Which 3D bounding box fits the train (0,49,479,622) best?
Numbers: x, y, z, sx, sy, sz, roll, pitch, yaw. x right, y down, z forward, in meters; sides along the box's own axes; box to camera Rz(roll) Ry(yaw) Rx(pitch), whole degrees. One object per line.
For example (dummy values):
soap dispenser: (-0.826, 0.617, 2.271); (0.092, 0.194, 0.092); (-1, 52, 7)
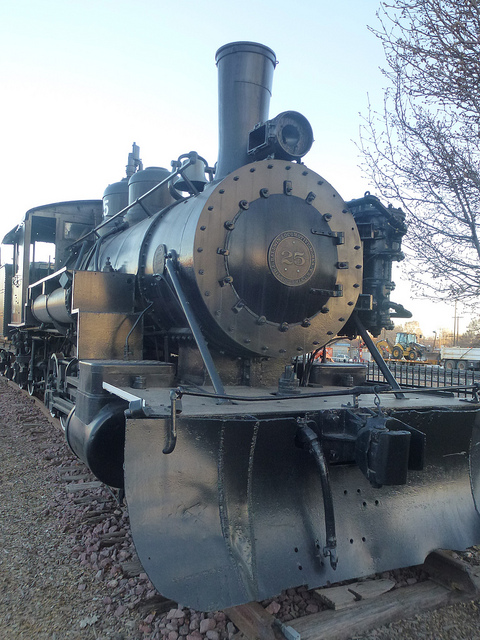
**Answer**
train: (-0.378, 0.134, 5.606); (2.397, 2.742, 6.525); (0, 2, -20)
